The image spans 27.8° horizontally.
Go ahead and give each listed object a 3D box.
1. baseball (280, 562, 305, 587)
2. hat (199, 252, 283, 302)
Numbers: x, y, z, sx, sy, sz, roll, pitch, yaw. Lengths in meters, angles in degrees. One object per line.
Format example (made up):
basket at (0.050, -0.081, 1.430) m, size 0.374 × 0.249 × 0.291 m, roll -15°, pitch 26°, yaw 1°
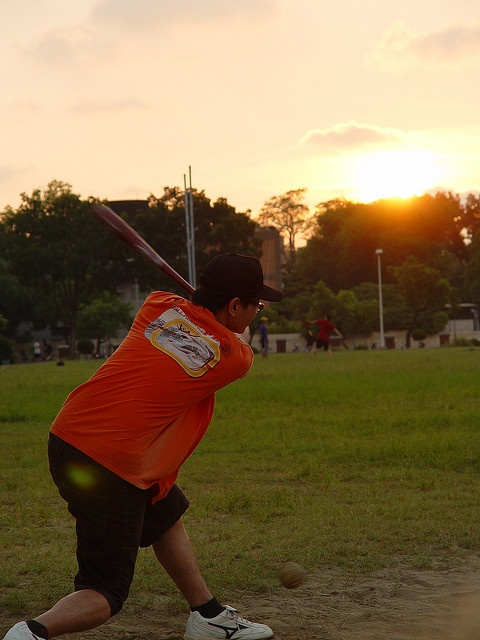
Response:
baseball at (0.268, 1.310, 5.011) m, size 0.140 × 0.125 × 0.129 m, roll 0°, pitch -11°, yaw 7°
hat at (0.002, -0.214, 4.440) m, size 0.431 × 0.214 × 0.258 m, roll 1°, pitch 17°, yaw -27°
